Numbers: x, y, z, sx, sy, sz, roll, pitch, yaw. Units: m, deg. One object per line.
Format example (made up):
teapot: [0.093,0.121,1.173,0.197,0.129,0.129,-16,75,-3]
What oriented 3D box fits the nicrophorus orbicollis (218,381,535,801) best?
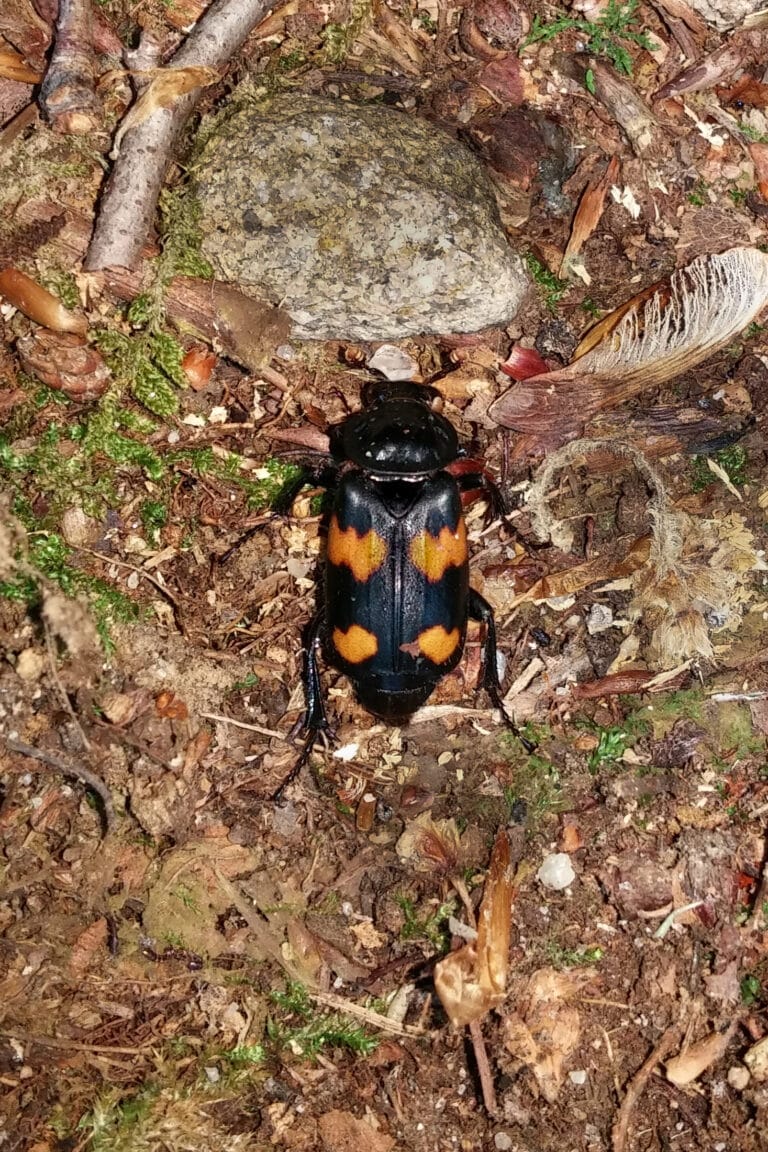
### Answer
nicrophorus orbicollis: [0.159,0.060,3.395,0.758,1.118,1.024,9,67,2]
